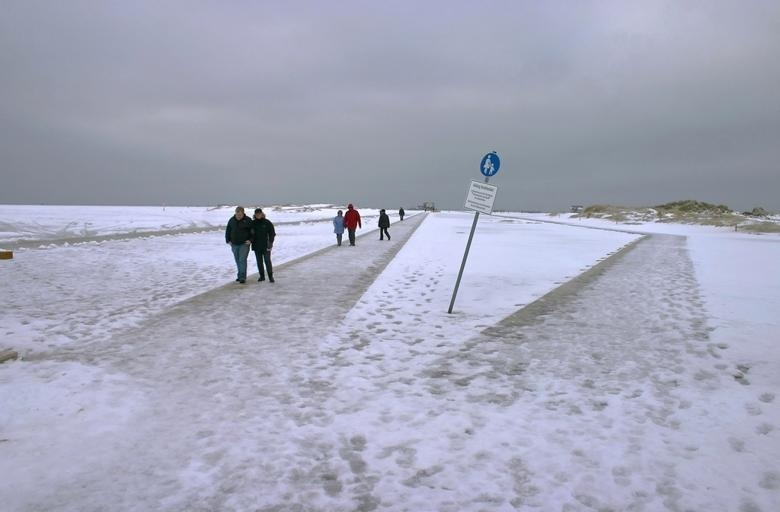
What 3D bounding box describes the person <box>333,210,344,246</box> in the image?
[{"bbox_3d":[-2.519,-1.317,24.902,0.418,1.674,1.095,-1,15,-5],"label":"person"}]
